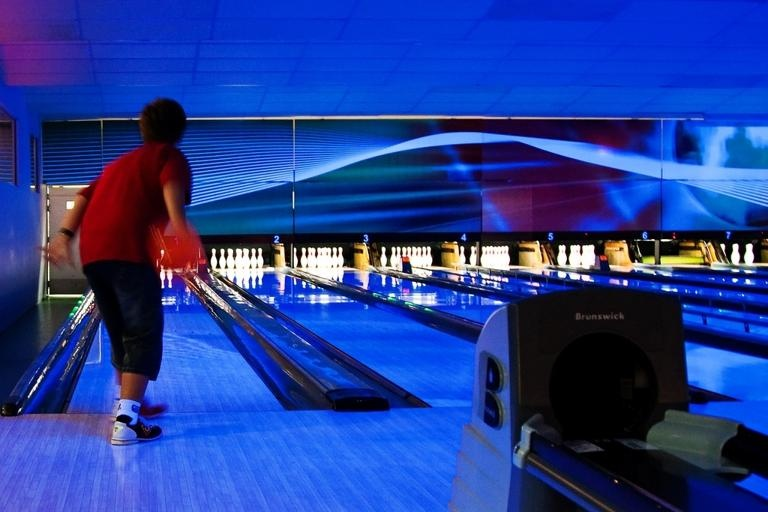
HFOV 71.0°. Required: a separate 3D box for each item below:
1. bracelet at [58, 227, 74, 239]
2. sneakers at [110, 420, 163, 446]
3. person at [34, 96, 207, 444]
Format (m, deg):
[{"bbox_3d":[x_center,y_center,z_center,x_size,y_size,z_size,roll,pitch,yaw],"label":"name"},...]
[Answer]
[{"bbox_3d":[-1.264,-0.096,2.155,0.036,0.024,0.038,17,-23,32],"label":"bracelet"},{"bbox_3d":[-0.895,0.638,1.999,0.187,0.074,0.076,2,-3,-43],"label":"sneakers"},{"bbox_3d":[-0.996,0.064,2.133,0.512,1.374,0.639,-8,14,-37],"label":"person"}]
